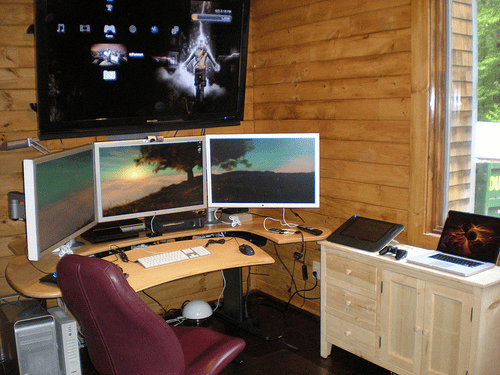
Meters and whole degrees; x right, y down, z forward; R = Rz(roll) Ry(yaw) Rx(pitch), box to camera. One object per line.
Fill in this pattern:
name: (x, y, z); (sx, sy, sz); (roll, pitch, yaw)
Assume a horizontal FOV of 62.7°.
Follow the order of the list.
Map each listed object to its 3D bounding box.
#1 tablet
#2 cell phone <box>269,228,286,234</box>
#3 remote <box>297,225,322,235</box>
tablet: (0.829, 0.339, 2.929); (0.417, 0.096, 0.425); (-27, 27, -31)
cell phone: (0.201, 0.319, 3.067); (0.045, 0.014, 0.082); (-9, 16, -36)
remote: (0.451, 0.316, 3.089); (0.069, 0.024, 0.140); (3, 13, -39)
